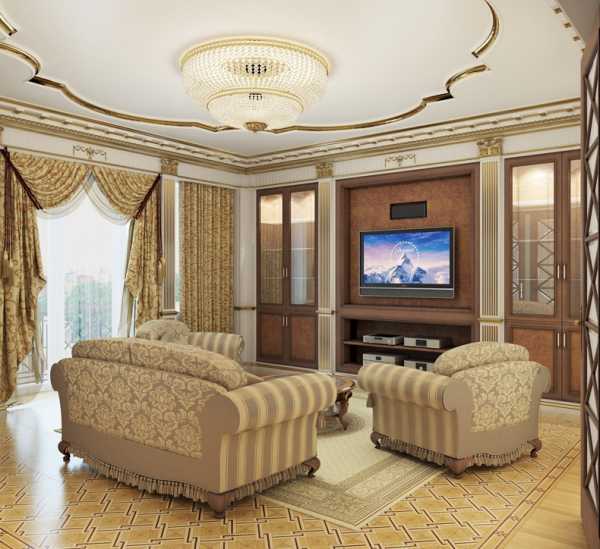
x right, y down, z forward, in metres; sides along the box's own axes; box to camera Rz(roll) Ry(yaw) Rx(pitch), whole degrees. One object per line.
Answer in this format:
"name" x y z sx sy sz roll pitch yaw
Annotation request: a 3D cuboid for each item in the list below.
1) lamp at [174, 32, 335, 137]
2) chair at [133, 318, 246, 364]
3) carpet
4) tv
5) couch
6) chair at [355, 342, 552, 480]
"lamp" -0.437 -1.428 4.215 1.319 0.496 1.341 -4 0 44
"chair" -1.003 0.656 5.046 0.735 0.574 0.681 3 3 30
"carpet" 0.344 1.195 3.184 0.905 0.144 1.045 -1 1 42
"tv" 1.338 -0.126 6.229 0.080 0.868 1.426 -1 1 -42
"couch" -0.782 0.953 3.559 1.928 0.821 1.082 -2 -6 38
"chair" 1.239 0.951 3.842 1.315 0.790 0.881 5 -5 -36
